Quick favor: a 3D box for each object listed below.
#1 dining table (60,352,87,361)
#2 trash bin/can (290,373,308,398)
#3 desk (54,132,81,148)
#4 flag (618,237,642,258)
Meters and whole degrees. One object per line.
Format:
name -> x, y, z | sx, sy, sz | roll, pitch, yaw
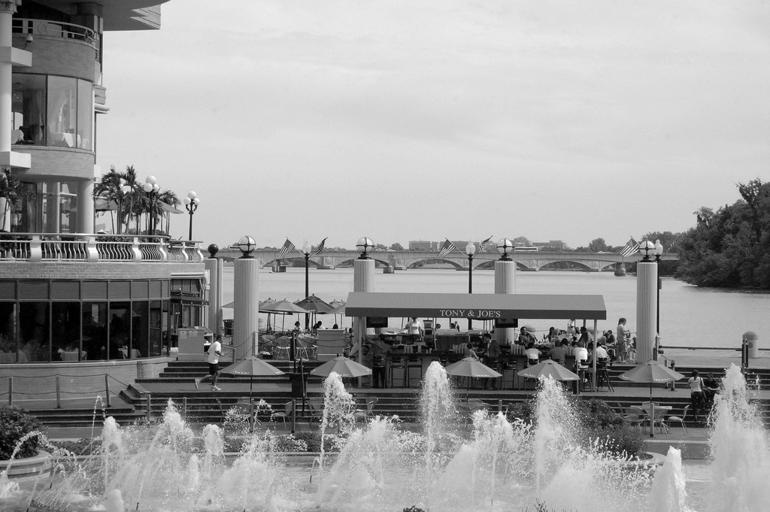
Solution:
dining table -> -14.246, 4.684, 81.417 | 1.110, 0.452, 0.180 | 3, -1, -28
trash bin/can -> -3.914, 5.754, 78.236 | 0.976, 1.242, 0.984 | 0, -5, -1
desk -> -15.370, -5.552, 85.841 | 0.695, 0.615, 0.910 | -2, -2, 35
flag -> 12.035, -0.216, 88.573 | 1.322, 0.656, 1.343 | -2, -1, 10
